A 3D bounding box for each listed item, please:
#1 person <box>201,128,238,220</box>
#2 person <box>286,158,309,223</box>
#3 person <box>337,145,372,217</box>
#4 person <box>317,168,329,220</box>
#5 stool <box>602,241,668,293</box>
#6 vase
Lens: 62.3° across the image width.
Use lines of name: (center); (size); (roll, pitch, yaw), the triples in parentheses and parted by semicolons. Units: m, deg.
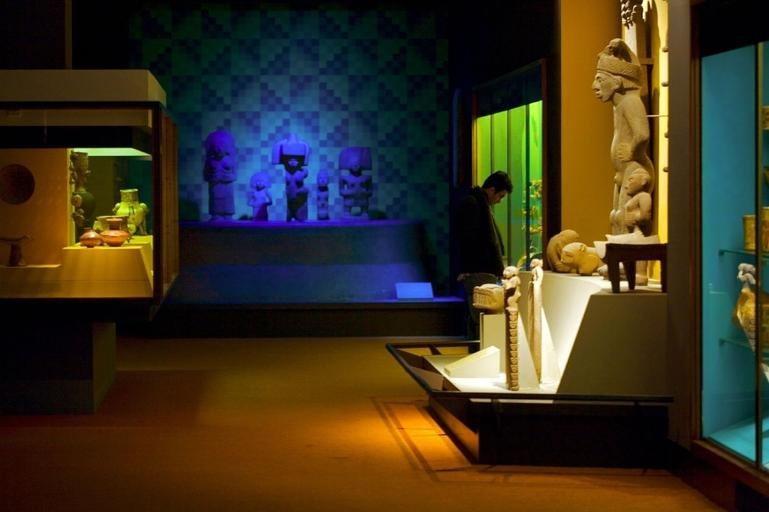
person: (-2.339, -1.147, 9.052); (0.426, 1.242, 0.249); (-1, 5, -11)
person: (-1.231, -0.928, 8.992); (0.298, 0.860, 0.301); (-1, 5, -11)
person: (-0.412, -1.067, 9.218); (0.463, 0.998, 0.214); (-1, 5, -9)
person: (-0.892, -0.900, 9.319); (0.204, 0.731, 0.330); (-1, 5, -7)
stool: (1.753, 0.057, 4.412); (0.363, 0.274, 0.365); (0, 4, 6)
vase: (-2.393, -0.334, 5.732); (0.508, 0.372, 0.633); (3, 11, 17)
